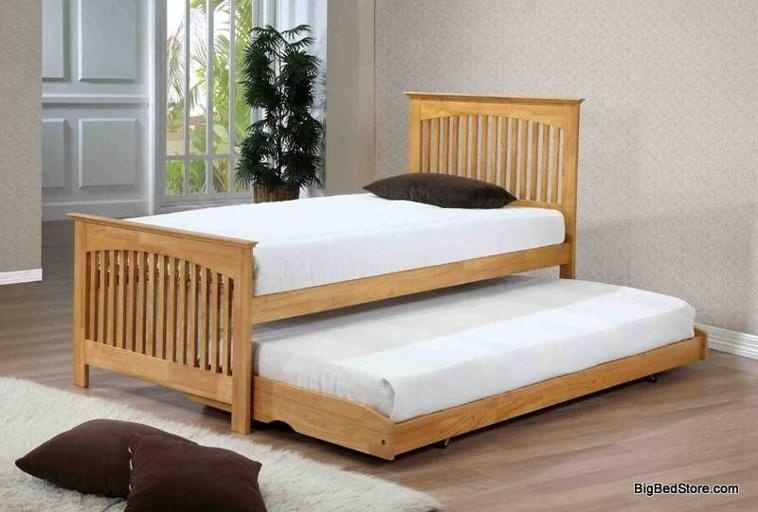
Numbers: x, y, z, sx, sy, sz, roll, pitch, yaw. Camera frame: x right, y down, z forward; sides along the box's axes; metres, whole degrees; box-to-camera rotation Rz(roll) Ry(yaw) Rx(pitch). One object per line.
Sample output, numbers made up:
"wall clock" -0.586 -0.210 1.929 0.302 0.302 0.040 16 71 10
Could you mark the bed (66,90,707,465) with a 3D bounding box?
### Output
"bed" 0.019 -0.143 3.730 2.945 1.554 2.098 -8 14 -36
